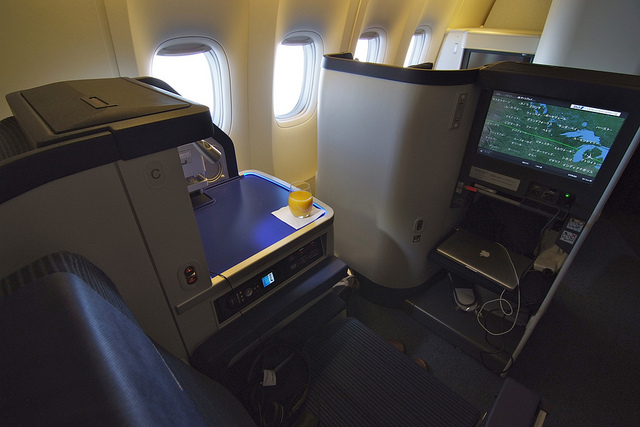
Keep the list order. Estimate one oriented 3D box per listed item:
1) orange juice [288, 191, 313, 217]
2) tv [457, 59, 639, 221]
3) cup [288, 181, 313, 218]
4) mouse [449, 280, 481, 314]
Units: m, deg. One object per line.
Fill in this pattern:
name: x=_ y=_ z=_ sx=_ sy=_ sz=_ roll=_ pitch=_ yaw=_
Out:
orange juice: x=-0.097 y=-0.052 z=2.113 sx=0.113 sy=0.102 sz=0.116 roll=29 pitch=48 yaw=29
tv: x=1.141 y=-0.388 z=2.054 sx=0.652 sy=0.630 sz=0.265 roll=30 pitch=51 yaw=29
cup: x=-0.104 y=-0.067 z=2.149 sx=0.139 sy=0.200 sz=0.153 roll=-8 pitch=34 yaw=-13
mouse: x=0.939 y=0.525 z=2.744 sx=0.147 sy=0.069 sz=0.293 roll=3 pitch=32 yaw=4
